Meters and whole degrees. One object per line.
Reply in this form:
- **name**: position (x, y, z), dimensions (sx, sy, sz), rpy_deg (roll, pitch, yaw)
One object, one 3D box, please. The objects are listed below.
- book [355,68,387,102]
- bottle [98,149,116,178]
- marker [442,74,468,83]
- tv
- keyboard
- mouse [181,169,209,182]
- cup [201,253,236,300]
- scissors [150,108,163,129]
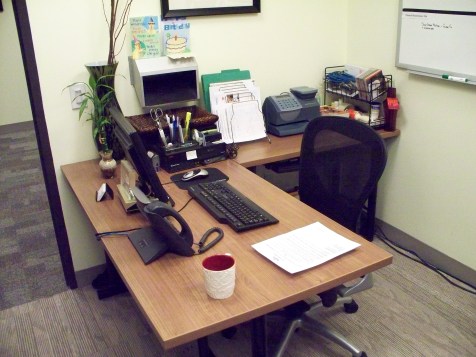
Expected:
- **book**: position (0.973, -0.687, 2.691), dimensions (0.267, 0.200, 0.079), rpy_deg (-26, 14, -36)
- **bottle**: position (-0.794, -0.080, 2.239), dimensions (0.104, 0.148, 0.102), rpy_deg (-2, 14, 1)
- **marker**: position (1.360, -0.632, 2.325), dimensions (0.037, 0.034, 0.181), rpy_deg (-27, 33, -28)
- **tv**: position (-0.519, -0.090, 1.981), dimensions (0.169, 0.376, 0.519), rpy_deg (-22, 31, -14)
- **keyboard**: position (-0.041, 0.135, 1.825), dimensions (0.201, 0.058, 0.438), rpy_deg (-17, 35, -22)
- **mouse**: position (-0.250, -0.035, 2.130), dimensions (0.123, 0.042, 0.072), rpy_deg (-11, 24, -10)
- **cup**: position (-0.066, 0.366, 1.405), dimensions (0.119, 0.121, 0.162), rpy_deg (5, 14, 18)
- **scissors**: position (-0.534, -0.410, 2.475), dimensions (0.085, 0.032, 0.285), rpy_deg (-7, 34, -15)
